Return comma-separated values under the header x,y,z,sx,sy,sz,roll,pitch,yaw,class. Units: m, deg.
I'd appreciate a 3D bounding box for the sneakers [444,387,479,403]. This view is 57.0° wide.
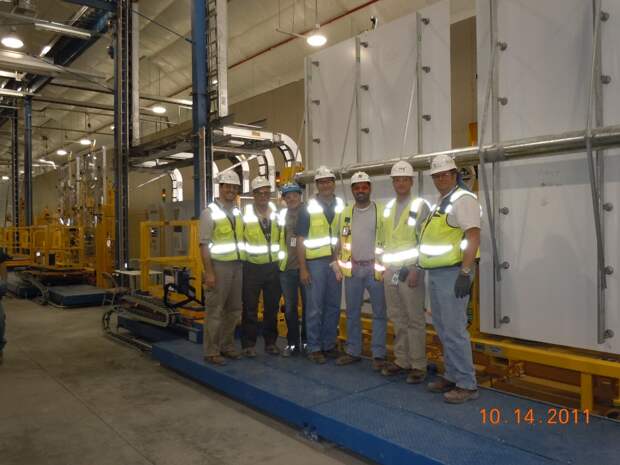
x,y,z,sx,sy,sz,roll,pitch,yaw,class
1.644,1.774,6.285,0.384,0.213,0.148,4,-9,-15,sneakers

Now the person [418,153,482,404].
x,y,z,sx,sy,sz,roll,pitch,yaw,class
1.592,0.483,6.419,0.546,2.680,0.607,-4,7,-19,person

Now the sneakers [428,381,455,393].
x,y,z,sx,sy,sz,roll,pitch,yaw,class
1.496,1.733,6.521,0.271,0.123,0.132,3,-6,-17,sneakers

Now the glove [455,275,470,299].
x,y,z,sx,sy,sz,roll,pitch,yaw,class
1.638,0.585,6.175,0.157,0.243,0.078,0,-8,35,glove

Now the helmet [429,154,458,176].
x,y,z,sx,sy,sz,roll,pitch,yaw,class
1.545,-0.776,6.555,0.216,0.178,0.303,-6,3,32,helmet

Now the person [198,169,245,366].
x,y,z,sx,sy,sz,roll,pitch,yaw,class
-1.167,0.454,7.682,0.624,2.501,0.495,-4,7,-19,person
